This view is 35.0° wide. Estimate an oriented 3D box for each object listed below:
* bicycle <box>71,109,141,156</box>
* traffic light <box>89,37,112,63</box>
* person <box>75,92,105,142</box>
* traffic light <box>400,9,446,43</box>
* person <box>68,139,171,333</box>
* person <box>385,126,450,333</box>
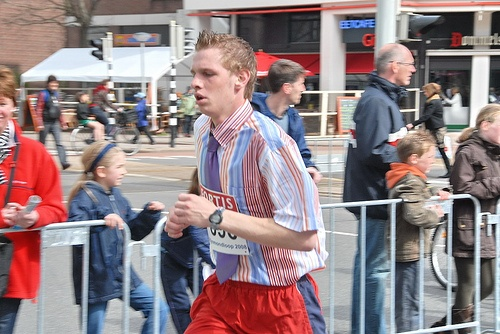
[{"bbox_3d":[-3.544,-0.905,20.642,2.331,1.113,1.069,-5,12,-12],"label":"bicycle"},{"bbox_3d":[-3.992,-3.206,21.646,0.859,0.855,0.489,1,3,-10],"label":"traffic light"},{"bbox_3d":[-3.847,-1.205,19.205,0.627,1.161,0.896,-1,5,-11],"label":"person"},{"bbox_3d":[2.450,-2.026,11.510,0.676,0.222,0.435,1,3,23],"label":"traffic light"},{"bbox_3d":[-1.127,0.615,6.839,0.831,1.621,0.839,-1,5,-11],"label":"person"},{"bbox_3d":[1.487,0.591,7.327,0.518,1.825,0.422,-4,6,-40],"label":"person"}]
